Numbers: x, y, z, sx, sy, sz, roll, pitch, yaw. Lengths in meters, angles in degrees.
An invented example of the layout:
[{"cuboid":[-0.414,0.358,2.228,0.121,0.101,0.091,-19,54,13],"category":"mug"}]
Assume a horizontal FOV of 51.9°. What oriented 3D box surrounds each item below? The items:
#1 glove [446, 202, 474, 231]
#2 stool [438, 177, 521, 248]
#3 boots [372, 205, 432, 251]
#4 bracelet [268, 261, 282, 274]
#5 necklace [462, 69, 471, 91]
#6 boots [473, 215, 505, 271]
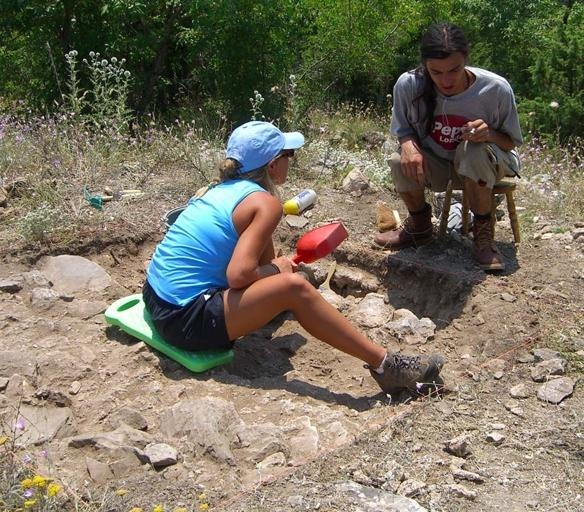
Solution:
[{"cuboid":[1.333,-0.320,4.865,0.223,0.272,0.105,13,-10,24],"category":"glove"},{"cuboid":[1.481,-0.339,4.505,0.478,0.414,0.394,5,22,32],"category":"stool"},{"cuboid":[0.765,-0.205,4.511,0.522,0.282,0.205,4,32,18],"category":"boots"},{"cuboid":[-0.098,0.061,3.301,0.045,0.055,0.055,-30,62,-15],"category":"bracelet"},{"cuboid":[1.140,-1.169,3.950,0.070,0.124,0.051,-10,20,-29],"category":"necklace"},{"cuboid":[1.323,-0.111,4.121,0.179,0.276,0.459,-8,27,12],"category":"boots"}]
